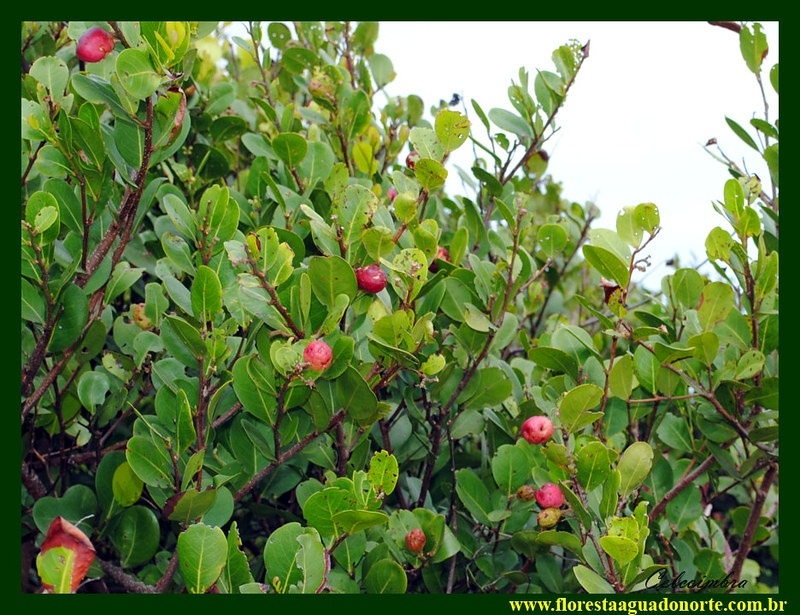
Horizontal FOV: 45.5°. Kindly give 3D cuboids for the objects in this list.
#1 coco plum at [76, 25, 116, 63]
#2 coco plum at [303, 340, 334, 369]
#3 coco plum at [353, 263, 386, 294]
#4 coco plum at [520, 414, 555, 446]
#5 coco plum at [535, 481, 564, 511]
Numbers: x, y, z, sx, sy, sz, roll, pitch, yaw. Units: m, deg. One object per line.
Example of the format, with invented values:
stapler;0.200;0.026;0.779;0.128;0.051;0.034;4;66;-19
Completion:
coco plum;-0.948;-0.819;2.966;0.102;0.107;0.072;65;-9;-16
coco plum;-0.254;0.149;2.949;0.084;0.077;0.065;52;-15;8
coco plum;-0.095;-0.094;3.107;0.087;0.093;0.087;35;1;-25
coco plum;0.446;0.387;3.115;0.098;0.086;0.073;-1;22;-47
coco plum;0.493;0.627;3.149;0.085;0.074;0.068;18;9;-37
